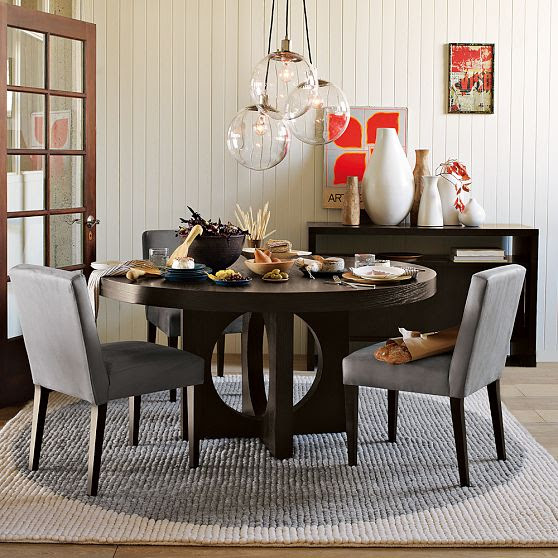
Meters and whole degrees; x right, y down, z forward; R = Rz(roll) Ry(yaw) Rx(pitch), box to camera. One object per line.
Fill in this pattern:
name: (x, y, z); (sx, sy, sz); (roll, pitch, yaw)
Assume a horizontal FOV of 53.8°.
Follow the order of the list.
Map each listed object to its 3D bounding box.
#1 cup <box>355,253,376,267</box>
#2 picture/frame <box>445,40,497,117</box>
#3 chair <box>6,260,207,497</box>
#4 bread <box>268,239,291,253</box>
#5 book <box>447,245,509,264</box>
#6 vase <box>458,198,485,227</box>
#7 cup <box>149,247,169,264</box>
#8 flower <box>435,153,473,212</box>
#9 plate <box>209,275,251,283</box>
cup: (0.365, -0.083, 2.373); (0.056, 0.051, 0.060); (0, 3, 0)
picture/frame: (1.395, -1.481, 3.997); (0.395, 0.697, 0.025); (0, 3, -1)
chair: (-0.792, 0.264, 2.462); (0.771, 1.318, 0.657); (-3, 5, -42)
bread: (0.002, -0.162, 2.767); (0.117, 0.057, 0.161); (0, 4, -3)
book: (1.400, -0.160, 3.865); (0.353, 0.104, 0.215); (2, 4, 18)
vase: (1.353, -0.449, 3.843); (0.159, 0.220, 0.184); (-1, 0, 0)
cup: (-0.520, -0.099, 2.370); (0.068, 0.073, 0.069); (0, 6, 0)
flower: (1.280, -0.668, 4.092); (0.303, 0.612, 0.325); (-2, -2, 18)
plate: (-0.193, 0.004, 2.020); (0.180, 0.024, 0.104); (2, 5, 21)
